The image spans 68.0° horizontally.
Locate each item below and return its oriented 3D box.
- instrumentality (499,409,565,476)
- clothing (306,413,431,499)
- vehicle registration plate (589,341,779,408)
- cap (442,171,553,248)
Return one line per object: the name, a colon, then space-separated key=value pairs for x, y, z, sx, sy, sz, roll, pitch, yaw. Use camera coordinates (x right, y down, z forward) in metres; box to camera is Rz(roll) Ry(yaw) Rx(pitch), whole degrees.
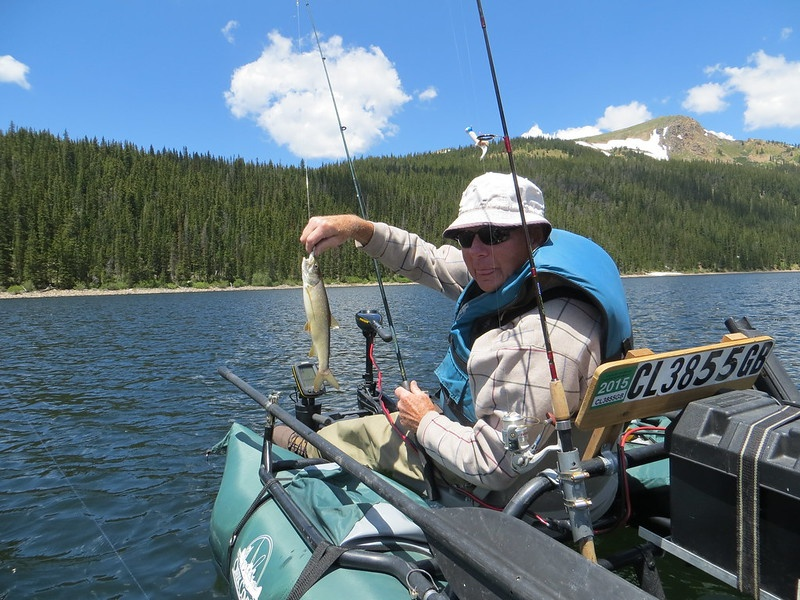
instrumentality: x=0.803 y=0.793 z=3.481 sx=0.416 sy=0.423 sz=0.344 roll=-2 pitch=-5 yaw=19
clothing: x=-0.193 y=1.154 z=4.681 sx=0.671 sy=0.558 sz=0.251 roll=20 pitch=52 yaw=26
vehicle registration plate: x=1.597 y=0.419 z=3.312 sx=1.318 sy=0.369 sz=0.149 roll=-8 pitch=10 yaw=-22
cap: x=0.688 y=-0.715 z=4.169 sx=0.620 sy=0.326 sz=0.549 roll=7 pitch=18 yaw=13
